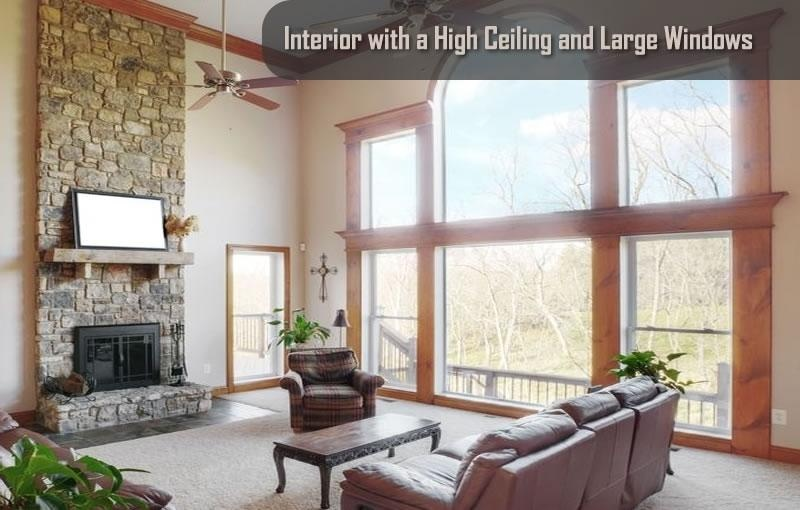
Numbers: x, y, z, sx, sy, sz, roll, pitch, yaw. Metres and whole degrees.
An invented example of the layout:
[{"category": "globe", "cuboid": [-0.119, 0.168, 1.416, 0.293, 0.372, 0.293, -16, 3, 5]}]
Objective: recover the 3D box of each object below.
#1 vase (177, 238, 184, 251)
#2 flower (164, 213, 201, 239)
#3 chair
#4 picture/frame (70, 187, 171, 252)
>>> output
[{"category": "vase", "cuboid": [-3.510, -0.176, 9.039, 0.109, 0.237, 0.303, -5, 11, -20]}, {"category": "flower", "cuboid": [-3.390, -0.441, 8.896, 0.467, 0.275, 0.429, 5, 4, 16]}, {"category": "chair", "cuboid": [-0.964, 1.843, 7.836, 1.411, 0.909, 1.064, 1, -2, -7]}, {"category": "picture/frame", "cuboid": [-4.233, -0.501, 8.442, 1.182, 0.686, 0.053, 5, -19, -38]}]
